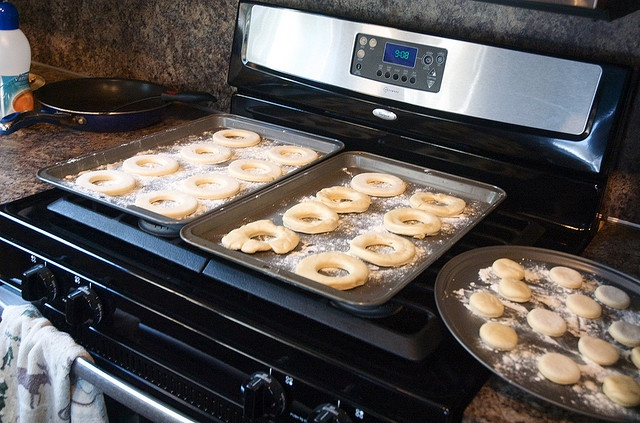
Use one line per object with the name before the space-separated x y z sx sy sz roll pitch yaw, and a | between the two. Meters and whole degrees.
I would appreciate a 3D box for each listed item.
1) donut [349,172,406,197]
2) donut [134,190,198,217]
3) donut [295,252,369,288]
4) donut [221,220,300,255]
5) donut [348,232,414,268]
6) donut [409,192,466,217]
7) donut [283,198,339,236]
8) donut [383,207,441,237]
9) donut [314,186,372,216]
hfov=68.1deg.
donut | 0.155 -0.085 1.217 0.093 0.018 0.087 16 22 24
donut | -0.374 -0.026 1.144 0.100 0.087 0.011 -11 75 1
donut | 0.028 0.114 0.932 0.091 0.019 0.080 -7 27 -19
donut | -0.129 0.053 1.014 0.100 0.012 0.096 16 27 30
donut | 0.135 0.078 1.014 0.148 0.026 0.121 -2 29 -15
donut | 0.284 -0.033 1.145 0.088 0.017 0.085 -13 25 -40
donut | -0.020 0.013 1.097 0.136 0.033 0.118 -2 28 -2
donut | 0.215 0.023 1.100 0.134 0.027 0.120 10 27 16
donut | 0.057 -0.027 1.158 0.094 0.021 0.080 2 26 -5
